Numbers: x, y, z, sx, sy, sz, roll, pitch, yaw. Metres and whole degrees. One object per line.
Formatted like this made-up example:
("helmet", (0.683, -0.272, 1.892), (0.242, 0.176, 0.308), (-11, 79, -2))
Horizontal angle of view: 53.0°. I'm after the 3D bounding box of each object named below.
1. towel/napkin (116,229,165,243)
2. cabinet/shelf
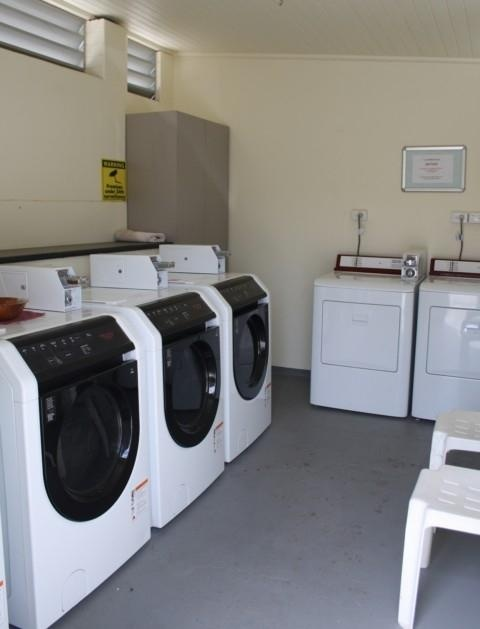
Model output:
("towel/napkin", (-0.661, -0.501, 3.099), (0.347, 0.083, 0.292), (0, 7, -6))
("cabinet/shelf", (-0.381, -0.958, 3.438), (0.796, 0.920, 0.416), (-5, 9, -42))
